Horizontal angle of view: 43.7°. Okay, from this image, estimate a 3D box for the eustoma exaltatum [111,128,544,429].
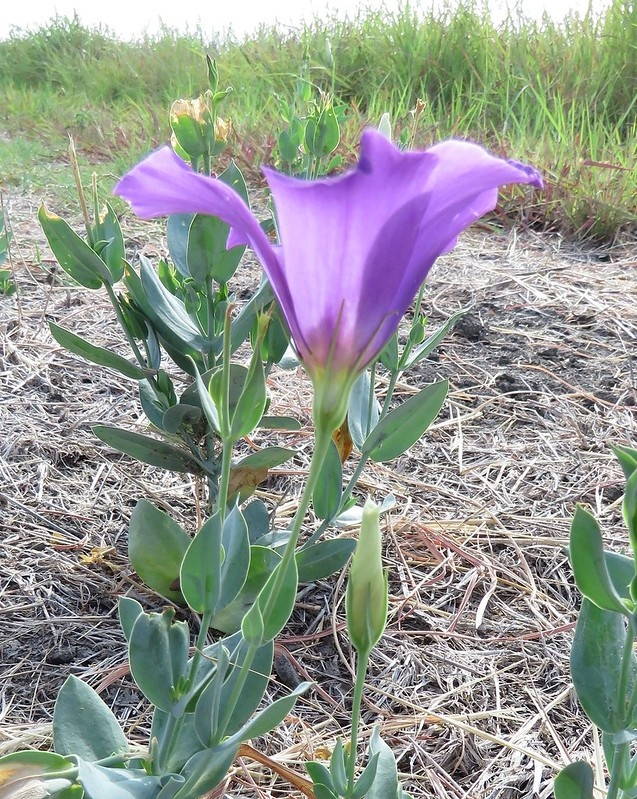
[{"bbox_3d":[0.016,-0.065,0.500,0.220,0.116,0.203,0,6,15],"label":"eustoma exaltatum"}]
